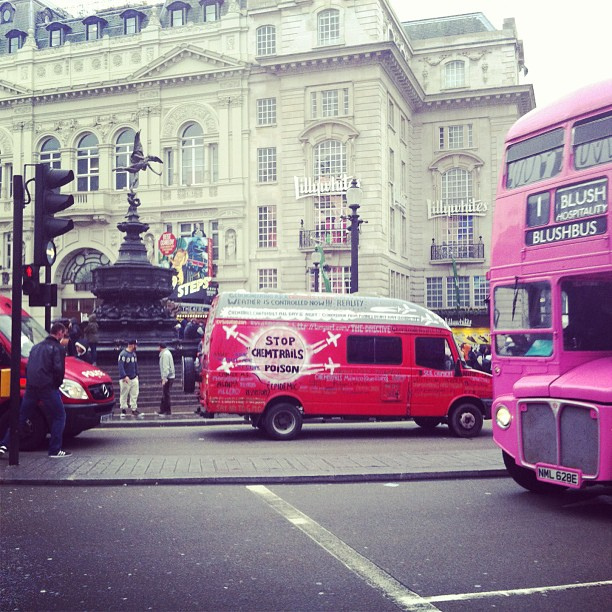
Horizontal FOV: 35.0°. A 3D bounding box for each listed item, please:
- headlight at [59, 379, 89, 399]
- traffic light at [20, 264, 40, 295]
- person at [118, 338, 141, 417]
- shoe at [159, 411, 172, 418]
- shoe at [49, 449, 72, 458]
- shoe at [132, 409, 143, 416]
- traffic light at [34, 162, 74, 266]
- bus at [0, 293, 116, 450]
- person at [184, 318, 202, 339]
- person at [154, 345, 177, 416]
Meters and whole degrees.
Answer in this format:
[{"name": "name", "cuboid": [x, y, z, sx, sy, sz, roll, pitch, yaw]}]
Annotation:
[{"name": "headlight", "cuboid": [-3.417, 1.241, 14.387, 0.330, 0.144, 0.252, 18, 0, -5]}, {"name": "traffic light", "cuboid": [-3.459, -0.337, 12.208, 0.238, 0.386, 0.244, 2, -3, -18]}, {"name": "person", "cuboid": [-3.585, 1.468, 19.776, 0.396, 1.533, 0.724, 1, -3, -9]}, {"name": "shoe", "cuboid": [-2.854, 2.220, 19.897, 0.280, 0.146, 0.115, 5, -4, -7]}, {"name": "shoe", "cuboid": [-3.231, 1.962, 12.824, 0.292, 0.143, 0.108, 0, 0, -14]}, {"name": "shoe", "cuboid": [-3.415, 2.188, 19.863, 0.239, 0.195, 0.084, -1, 7, -26]}, {"name": "traffic light", "cuboid": [-3.196, -1.178, 12.329, 0.472, 1.379, 0.612, 1, -3, -17]}, {"name": "bus", "cuboid": [-3.621, 1.072, 14.588, 2.426, 1.620, 1.309, 0, -2, 3]}, {"name": "person", "cuboid": [-3.326, 0.652, 28.518, 0.308, 0.831, 0.279, 6, 16, 0]}, {"name": "person", "cuboid": [-3.039, 1.588, 21.015, 0.429, 1.450, 2.484, 1, -3, -8]}]
